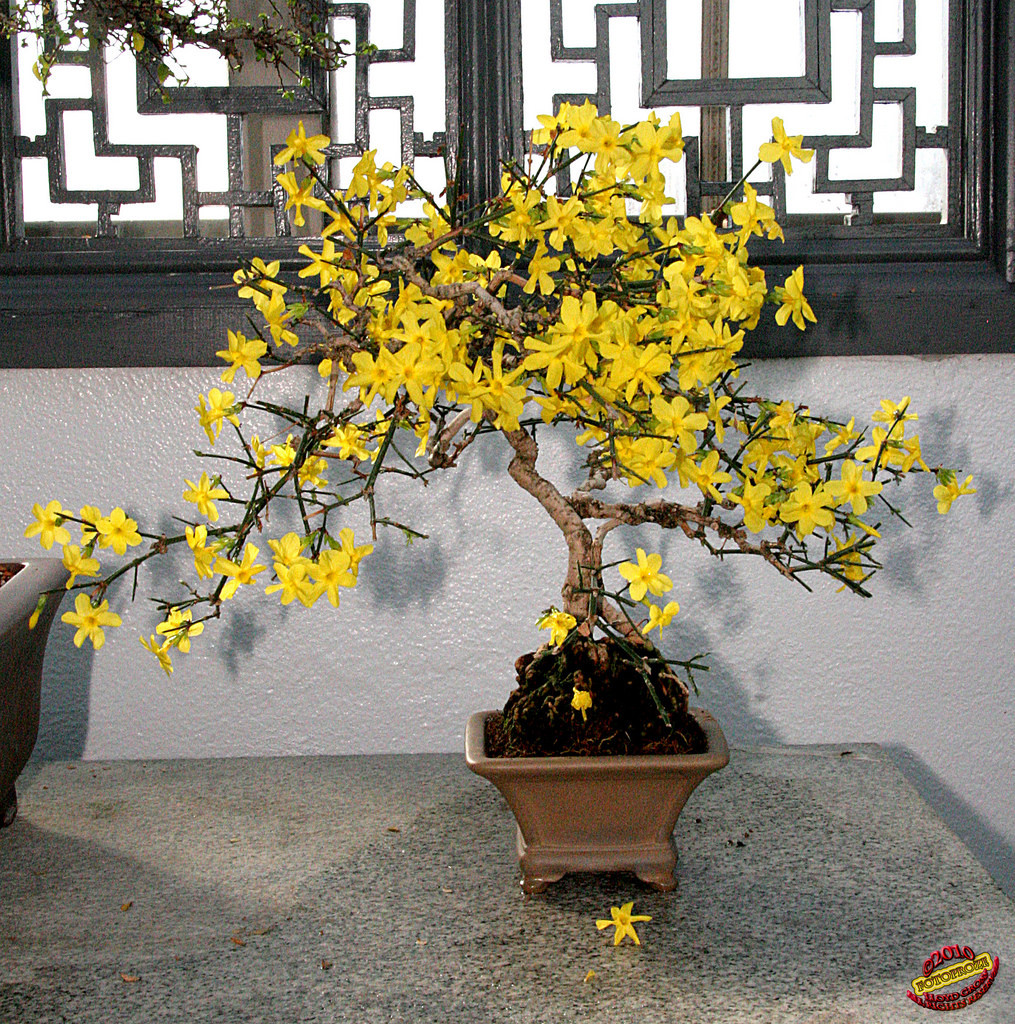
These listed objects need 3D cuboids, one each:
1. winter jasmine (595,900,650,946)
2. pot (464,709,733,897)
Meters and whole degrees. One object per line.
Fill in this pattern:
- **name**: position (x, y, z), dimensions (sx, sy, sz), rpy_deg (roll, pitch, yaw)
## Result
- **winter jasmine**: position (0.181, 0.646, 1.847), dimensions (0.091, 0.071, 0.035), rpy_deg (-2, -4, 6)
- **pot**: position (0.085, 0.480, 2.011), dimensions (0.486, 0.238, 0.407), rpy_deg (1, 9, -9)
